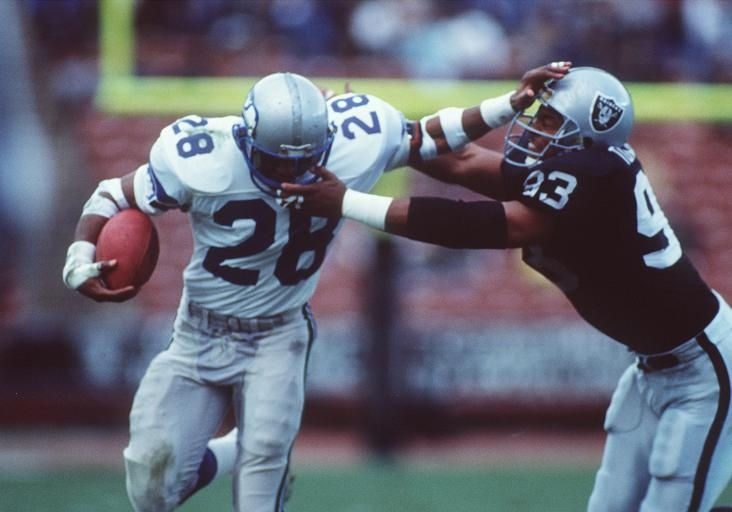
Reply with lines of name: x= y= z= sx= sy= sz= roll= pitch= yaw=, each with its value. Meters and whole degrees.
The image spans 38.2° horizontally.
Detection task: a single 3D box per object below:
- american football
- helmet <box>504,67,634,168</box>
american football: x=-1.066 y=-0.043 z=4.832 sx=0.256 sy=0.363 sz=0.284 roll=-16 pitch=25 yaw=-40
helmet: x=0.910 y=-0.651 z=4.966 sx=0.606 sy=0.419 sz=0.414 roll=4 pitch=29 yaw=5
